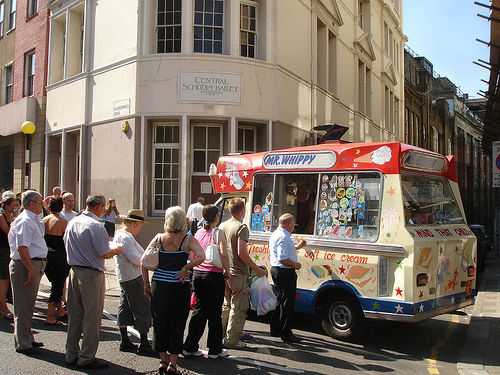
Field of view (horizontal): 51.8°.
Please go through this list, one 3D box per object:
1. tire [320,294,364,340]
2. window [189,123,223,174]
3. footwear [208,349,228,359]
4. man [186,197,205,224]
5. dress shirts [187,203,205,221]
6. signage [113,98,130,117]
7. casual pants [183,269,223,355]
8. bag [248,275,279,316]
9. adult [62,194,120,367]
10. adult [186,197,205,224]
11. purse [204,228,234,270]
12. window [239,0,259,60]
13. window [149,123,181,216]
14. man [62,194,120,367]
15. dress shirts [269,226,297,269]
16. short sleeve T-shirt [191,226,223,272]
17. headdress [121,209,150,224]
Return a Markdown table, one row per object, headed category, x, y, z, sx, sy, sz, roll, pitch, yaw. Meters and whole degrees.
| category | x | y | z | sx | sy | sz | roll | pitch | yaw |
| --- | --- | --- | --- | --- | --- | --- | --- | --- | --- |
| tire | 1.761 | 2.367 | 9.714 | 0.822 | 0.987 | 0.327 | -2 | 7 | 22 |
| window | -1.481 | -1.312 | 17.743 | 1.124 | 2.221 | 0.064 | 2 | -34 | -7 |
| footwear | -0.527 | 2.833 | 8.726 | 0.340 | 0.179 | 0.131 | -7 | 9 | -39 |
| man | -1.605 | 0.671 | 15.026 | 0.357 | 0.688 | 0.698 | 11 | -7 | -31 |
| dress shirts | -1.560 | 0.720 | 14.879 | 0.360 | 0.637 | 0.687 | 0 | 0 | -43 |
| signage | -4.502 | -2.773 | 17.971 | 0.139 | 0.594 | 1.079 | 0 | 3 | -43 |
| casual pants | -0.776 | 2.083 | 8.782 | 0.625 | 1.666 | 0.497 | 8 | 10 | 14 |
| bag | 0.247 | 1.953 | 9.391 | 0.283 | 0.626 | 0.374 | 3 | -5 | 18 |
| adult | -2.613 | 1.501 | 8.368 | 0.842 | 2.731 | 0.454 | 1 | 2 | -5 |
| adult | -1.605 | 0.671 | 15.026 | 0.357 | 0.688 | 0.698 | 11 | -7 | -31 |
| purse | -0.546 | 1.056 | 8.746 | 0.223 | 0.684 | 0.503 | -19 | -25 | 33 |
| window | -0.051 | -5.581 | 18.218 | 0.724 | 1.930 | 0.257 | 0 | 2 | -27 |
| window | -2.917 | -0.596 | 17.773 | 0.976 | 3.650 | 0.279 | 0 | -31 | -9 |
| man | -2.614 | 1.501 | 8.368 | 0.844 | 2.731 | 0.454 | 1 | 2 | -5 |
| dress shirts | 0.625 | 1.013 | 9.694 | 0.488 | 0.897 | 0.975 | -1 | -2 | -3 |
| short sleeve T-shirt | -0.635 | 1.021 | 8.889 | 0.348 | 0.697 | 0.459 | -13 | -15 | 43 |
| headdress | -2.022 | 0.468 | 8.893 | 0.344 | 0.162 | 0.354 | 14 | -1 | -7 |
